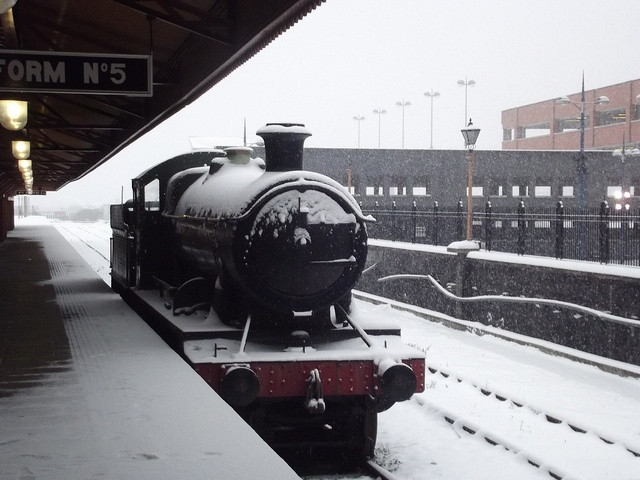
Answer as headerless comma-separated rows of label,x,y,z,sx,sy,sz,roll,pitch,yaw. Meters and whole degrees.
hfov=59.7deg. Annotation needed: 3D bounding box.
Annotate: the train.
train,-1.511,0.563,8.787,2.417,4.332,6.789,2,4,-30
